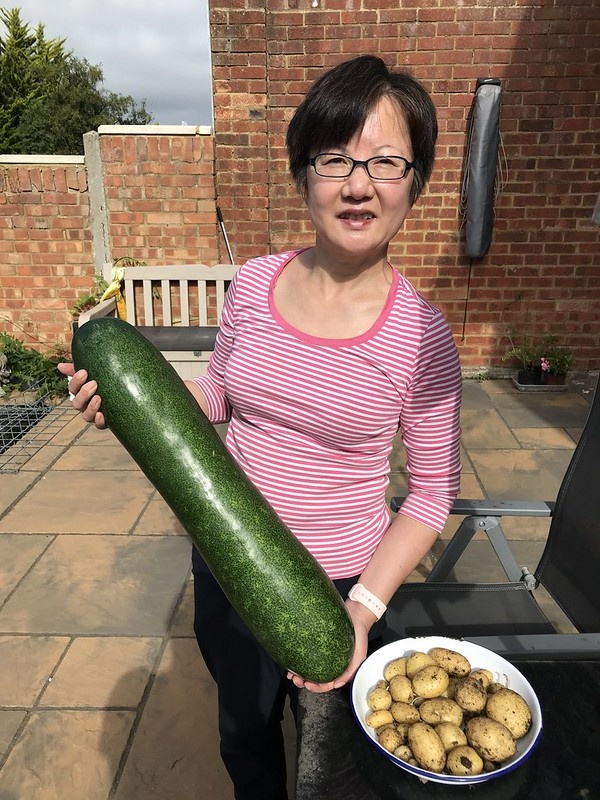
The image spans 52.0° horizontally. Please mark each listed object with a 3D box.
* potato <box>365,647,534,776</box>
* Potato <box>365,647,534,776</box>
[{"bbox_3d":[0.238,0.499,0.996,0.259,0.091,0.270,3,22,10],"label":"potato"},{"bbox_3d":[0.238,0.499,0.996,0.259,0.091,0.270,3,22,10],"label":"Potato"}]
